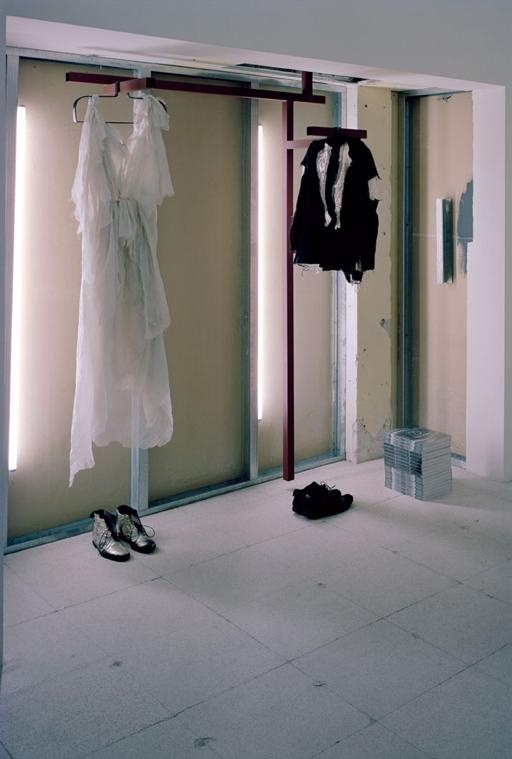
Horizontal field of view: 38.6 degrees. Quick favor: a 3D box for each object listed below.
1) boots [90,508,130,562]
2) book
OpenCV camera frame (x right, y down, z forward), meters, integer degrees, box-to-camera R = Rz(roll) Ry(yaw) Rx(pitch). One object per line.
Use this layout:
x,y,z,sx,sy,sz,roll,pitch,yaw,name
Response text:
-0.658,0.702,3.272,0.103,0.134,0.292,-4,9,-31,boots
0.899,0.391,4.112,0.307,0.449,0.424,-1,1,-34,book
